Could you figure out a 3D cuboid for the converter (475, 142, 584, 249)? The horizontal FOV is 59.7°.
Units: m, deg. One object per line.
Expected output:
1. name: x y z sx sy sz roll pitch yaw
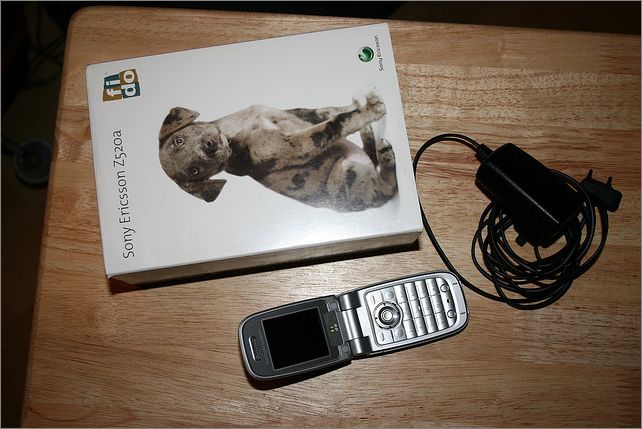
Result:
1. converter: 0.359 -0.036 0.976 0.098 0.075 0.190 -42 80 -9
